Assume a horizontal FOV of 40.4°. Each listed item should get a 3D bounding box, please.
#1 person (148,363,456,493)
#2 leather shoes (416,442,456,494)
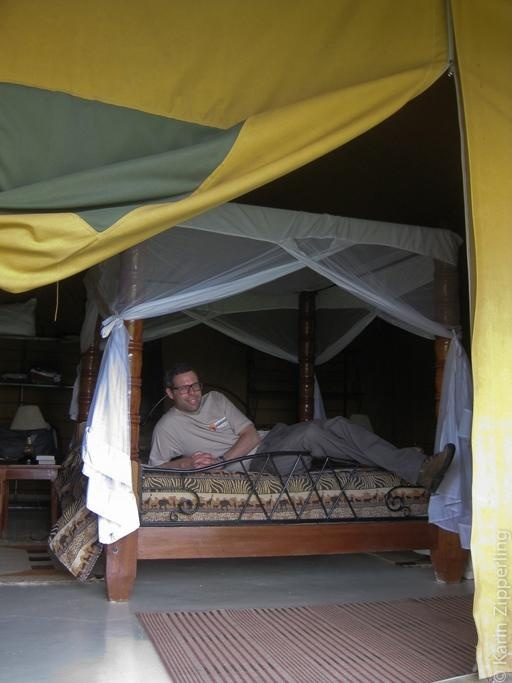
[{"bbox_3d":[0.241,0.580,4.061,1.584,0.586,0.739,-4,21,24],"label":"person"},{"bbox_3d":[0.901,0.634,3.479,0.179,0.252,0.261,0,-7,14],"label":"leather shoes"}]
